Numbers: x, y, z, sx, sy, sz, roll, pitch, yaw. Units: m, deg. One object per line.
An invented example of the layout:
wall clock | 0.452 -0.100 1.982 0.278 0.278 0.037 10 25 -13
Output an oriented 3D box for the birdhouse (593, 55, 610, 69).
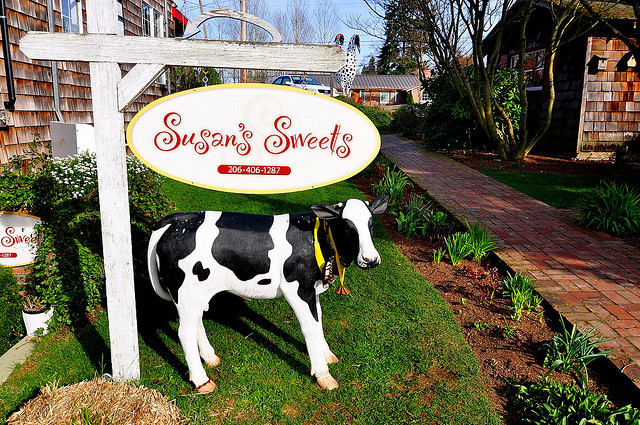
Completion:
birdhouse | 8.221 -4.416 12.710 0.270 0.531 0.519 7 24 39

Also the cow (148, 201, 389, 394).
cow | -0.601 1.027 4.811 1.767 1.570 0.690 0 6 -1

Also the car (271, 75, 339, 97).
car | -0.792 -6.125 20.598 2.323 0.871 6.260 0 15 -4

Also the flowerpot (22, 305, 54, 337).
flowerpot | -3.430 1.336 5.342 0.297 0.267 0.256 5 -1 -12
